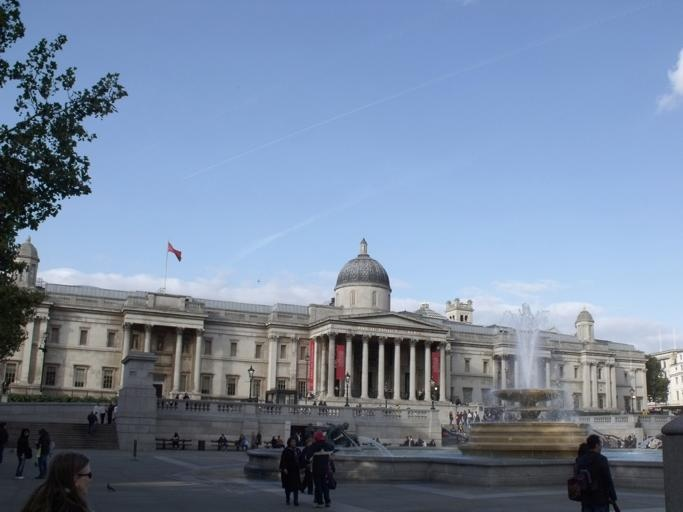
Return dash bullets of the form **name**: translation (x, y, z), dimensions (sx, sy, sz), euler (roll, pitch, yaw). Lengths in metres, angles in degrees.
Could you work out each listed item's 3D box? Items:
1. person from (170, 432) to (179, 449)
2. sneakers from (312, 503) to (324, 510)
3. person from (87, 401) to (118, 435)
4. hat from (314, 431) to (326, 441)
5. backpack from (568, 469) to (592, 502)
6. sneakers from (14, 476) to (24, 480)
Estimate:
- **person**: translation (-9.306, 10.335, 45.359), dimensions (0.466, 0.870, 0.810), euler (4, -13, -11)
- **sneakers**: translation (-0.711, 7.186, 23.212), dimensions (0.238, 0.101, 0.117), euler (7, -2, 39)
- **person**: translation (-13.728, 9.150, 46.000), dimensions (1.508, 1.051, 1.497), euler (0, 0, 0)
- **hat**: translation (-0.677, 5.453, 24.435), dimensions (0.354, 0.253, 0.471), euler (0, -1, -7)
- **backpack**: translation (5.563, 5.353, 18.875), dimensions (0.491, 0.788, 0.610), euler (14, -23, -39)
- **sneakers**: translation (-10.899, 7.515, 27.355), dimensions (0.337, 0.153, 0.125), euler (-1, -4, 16)
